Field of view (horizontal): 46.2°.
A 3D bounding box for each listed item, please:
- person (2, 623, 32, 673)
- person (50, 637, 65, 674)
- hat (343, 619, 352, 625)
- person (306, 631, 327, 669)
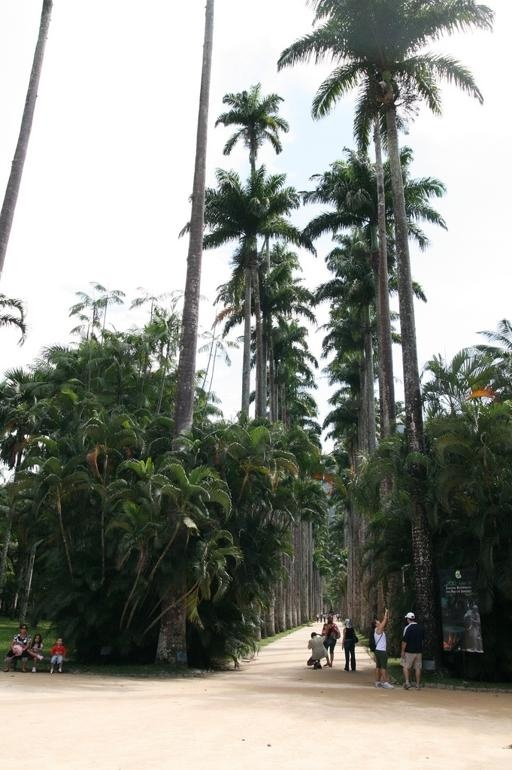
[{"bbox_3d":[-5.664,6.253,14.345,0.529,0.974,2.138,8,-22,-19],"label":"person"},{"bbox_3d":[-4.596,6.265,13.916,0.280,0.711,0.833,7,-21,-15],"label":"person"},{"bbox_3d":[2.400,6.217,15.748,0.149,0.172,0.291,0,-24,0],"label":"hat"},{"bbox_3d":[1.813,7.849,17.825,0.611,0.918,2.202,-1,-21,6],"label":"person"}]
